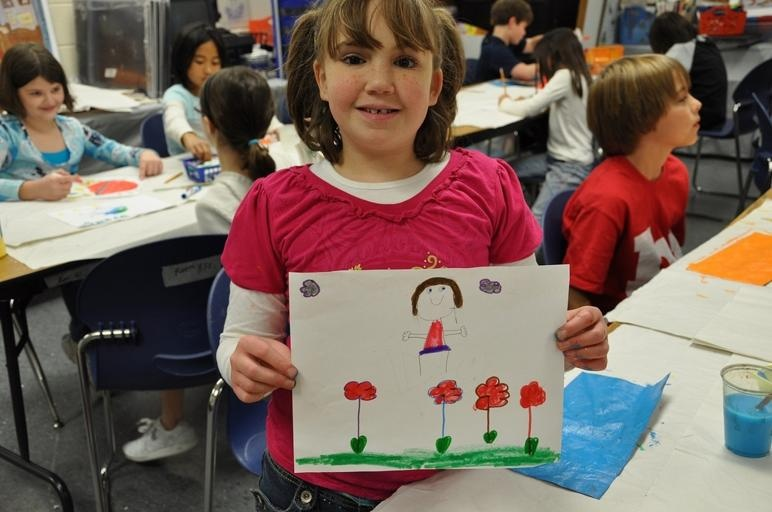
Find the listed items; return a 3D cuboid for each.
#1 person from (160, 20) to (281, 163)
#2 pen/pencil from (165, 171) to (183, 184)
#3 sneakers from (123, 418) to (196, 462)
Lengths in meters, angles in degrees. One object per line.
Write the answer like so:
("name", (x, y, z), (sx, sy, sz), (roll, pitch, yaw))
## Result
("person", (-0.979, -0.871, 3.432), (0.582, 0.759, 0.571), (10, 14, 38))
("pen/pencil", (-1.026, -0.382, 3.007), (0.021, 0.023, 0.161), (-4, 22, 30))
("sneakers", (-0.932, 0.776, 2.632), (0.296, 0.151, 0.146), (-7, 24, -8))
